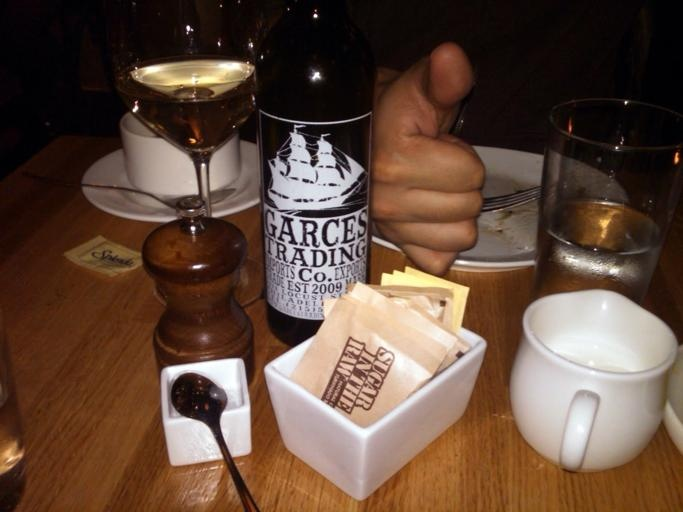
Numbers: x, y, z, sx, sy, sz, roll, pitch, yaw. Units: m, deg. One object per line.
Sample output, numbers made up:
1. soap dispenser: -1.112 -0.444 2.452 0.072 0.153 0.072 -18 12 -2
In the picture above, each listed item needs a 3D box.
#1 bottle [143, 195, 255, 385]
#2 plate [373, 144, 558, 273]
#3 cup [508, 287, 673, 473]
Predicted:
1. bottle: -0.150 0.045 0.567 0.113 0.193 0.093 -8 37 -9
2. plate: 0.216 -0.044 0.901 0.239 0.035 0.241 -26 37 -37
3. cup: 0.239 0.119 0.534 0.147 0.107 0.137 -1 37 0
